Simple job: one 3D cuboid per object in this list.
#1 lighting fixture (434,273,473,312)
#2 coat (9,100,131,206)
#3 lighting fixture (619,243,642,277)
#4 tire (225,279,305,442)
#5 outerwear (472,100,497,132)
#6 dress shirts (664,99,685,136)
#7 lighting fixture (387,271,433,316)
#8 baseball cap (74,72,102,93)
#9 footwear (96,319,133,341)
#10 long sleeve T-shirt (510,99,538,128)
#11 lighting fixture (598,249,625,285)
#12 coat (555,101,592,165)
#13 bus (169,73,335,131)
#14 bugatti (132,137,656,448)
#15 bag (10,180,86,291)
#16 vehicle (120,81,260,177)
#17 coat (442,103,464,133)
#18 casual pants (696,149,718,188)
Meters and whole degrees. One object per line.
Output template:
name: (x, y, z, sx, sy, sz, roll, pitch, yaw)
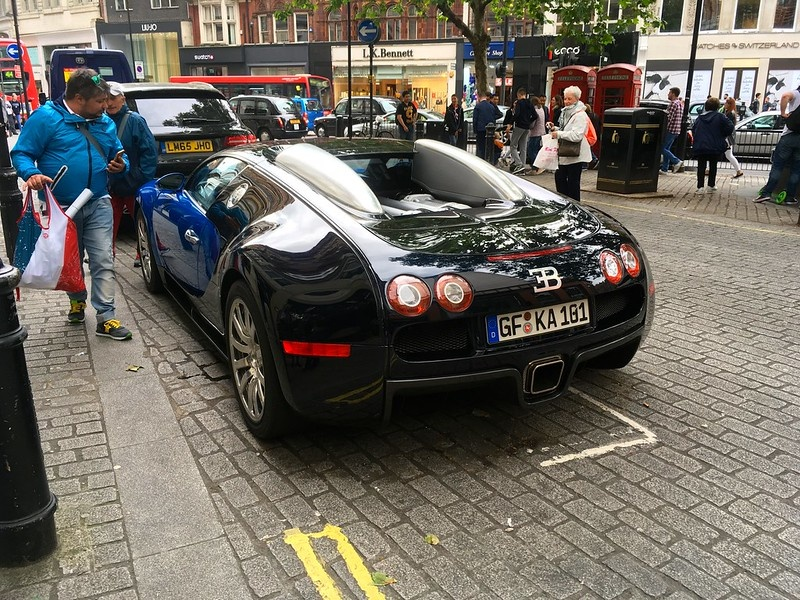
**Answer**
lighting fixture: (0.280, -0.030, 2.783, 0.183, 0.183, 0.045, -17, -7, -21)
coat: (-2.762, -1.256, 4.695, 0.595, 0.823, 1.040, 22, 23, 20)
lighting fixture: (1.399, -0.237, 3.344, 0.153, 0.211, 0.075, -8, -8, -36)
tire: (-0.750, 0.341, 3.134, 0.243, 0.748, 0.742, -6, 25, -28)
outerwear: (2.521, -5.458, 16.465, 0.624, 0.937, 0.727, 2, 21, 8)
dress shirts: (7.993, -5.303, 16.032, 0.465, 0.977, 0.339, 1, 21, 6)
lighting fixture: (0.042, -0.024, 2.736, 0.189, 0.195, 0.046, -30, -8, -12)
baseball cap: (-2.537, -1.792, 4.517, 0.191, 0.162, 0.196, -11, 23, -25)
footwear: (-2.444, 0.262, 4.796, 0.344, 0.149, 0.151, 9, 19, 17)
long sleeve T-shirt: (3.616, -5.346, 15.919, 0.772, 0.894, 0.511, 2, 24, -8)
lighting fixture: (1.205, -0.181, 3.229, 0.189, 0.189, 0.044, -5, -11, -44)
coat: (3.088, -2.947, 9.677, 0.541, 1.025, 0.868, -2, 21, 3)
bus: (-9.317, -12.642, 35.296, 11.083, 3.312, 3.010, 9, 27, 24)
bugatti: (-0.523, -0.620, 5.105, 2.920, 1.484, 5.203, -10, 22, -29)
bag: (-2.643, -0.405, 4.123, 0.428, 0.812, 0.313, -13, 24, -30)
vehicle: (-3.001, -2.508, 7.857, 1.210, 0.903, 2.684, -8, 21, -27)
coat: (1.766, -5.912, 18.056, 0.518, 0.903, 0.884, 2, 21, 7)
casual pants: (7.080, -3.005, 12.753, 0.426, 0.874, 0.946, 11, 24, 29)
